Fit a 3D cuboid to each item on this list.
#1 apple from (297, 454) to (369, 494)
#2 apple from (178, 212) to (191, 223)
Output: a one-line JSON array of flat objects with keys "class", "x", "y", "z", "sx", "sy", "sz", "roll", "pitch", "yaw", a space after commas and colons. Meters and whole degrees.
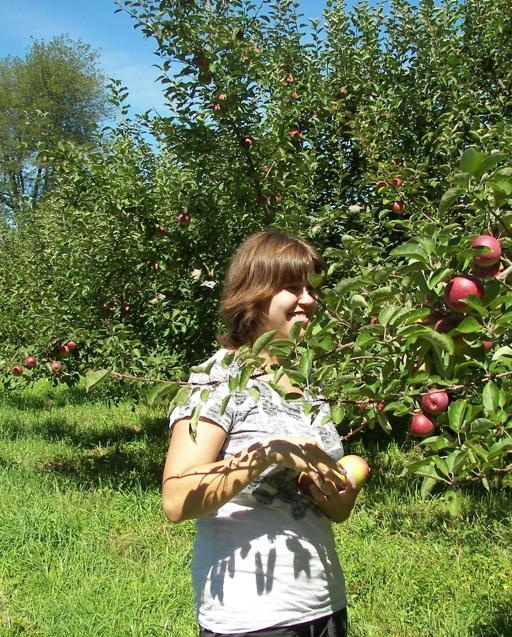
[{"class": "apple", "x": 0.223, "y": 0.411, "z": 1.448, "sx": 0.219, "sy": 0.096, "sz": 0.106, "roll": -6, "pitch": -5, "yaw": -44}, {"class": "apple", "x": -0.589, "y": -0.822, "z": 4.511, "sx": 0.094, "sy": 0.086, "sz": 0.066, "roll": -2, "pitch": 5, "yaw": -2}]
